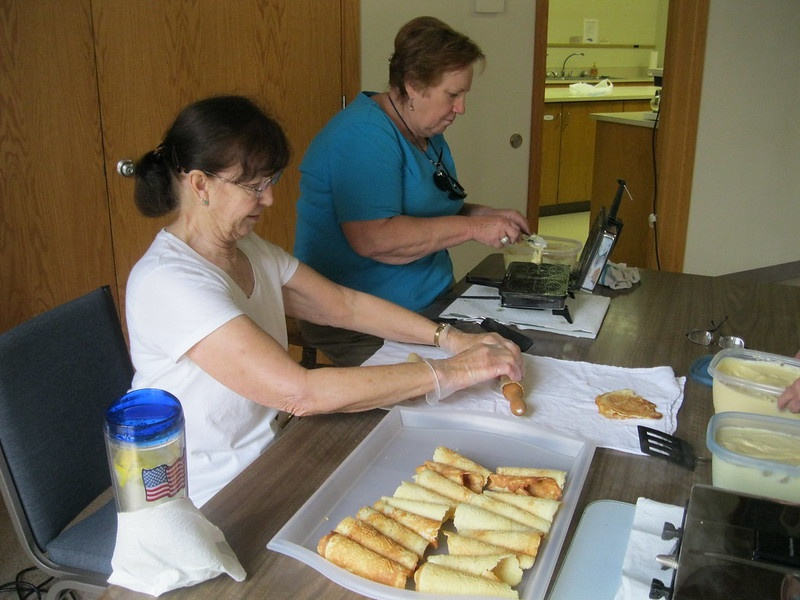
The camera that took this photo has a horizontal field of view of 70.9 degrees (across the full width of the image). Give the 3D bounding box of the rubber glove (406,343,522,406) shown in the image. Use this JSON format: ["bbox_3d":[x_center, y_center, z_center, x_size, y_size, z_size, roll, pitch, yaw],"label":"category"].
[{"bbox_3d":[0.161,0.154,1.344,0.220,0.067,0.126,-21,33,-30],"label":"rubber glove"}]

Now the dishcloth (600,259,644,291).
[{"bbox_3d":[0.797,-0.092,2.008,0.131,0.053,0.117,-1,23,-17],"label":"dishcloth"}]

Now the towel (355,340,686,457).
[{"bbox_3d":[0.385,0.230,1.318,0.477,0.026,0.300,7,25,21],"label":"towel"}]

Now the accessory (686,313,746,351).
[{"bbox_3d":[0.891,0.095,1.595,0.078,0.083,0.024,11,48,28],"label":"accessory"}]

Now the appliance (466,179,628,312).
[{"bbox_3d":[0.467,-0.170,1.897,0.501,0.451,0.341,6,28,16],"label":"appliance"}]

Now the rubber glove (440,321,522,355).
[{"bbox_3d":[0.174,0.096,1.495,0.281,0.076,0.074,0,38,41],"label":"rubber glove"}]
